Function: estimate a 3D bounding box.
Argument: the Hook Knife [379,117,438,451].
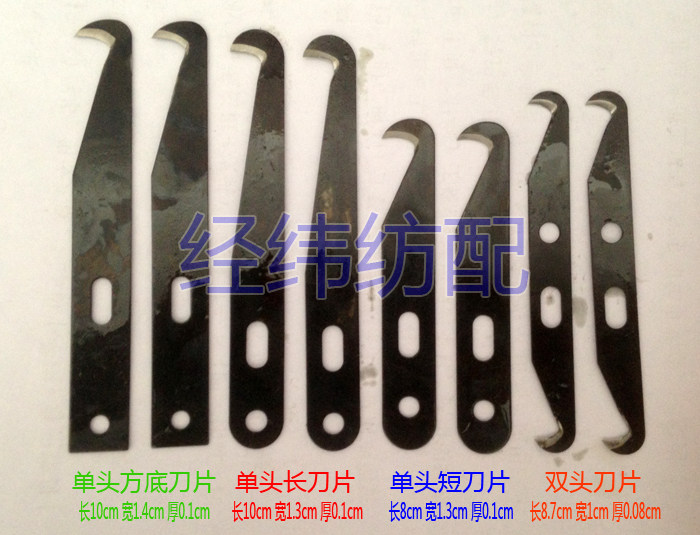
[{"bbox_3d":[0.152,0.045,2.325,0.127,0.884,0.014,0,-1,5],"label":"Hook Knife"}]
